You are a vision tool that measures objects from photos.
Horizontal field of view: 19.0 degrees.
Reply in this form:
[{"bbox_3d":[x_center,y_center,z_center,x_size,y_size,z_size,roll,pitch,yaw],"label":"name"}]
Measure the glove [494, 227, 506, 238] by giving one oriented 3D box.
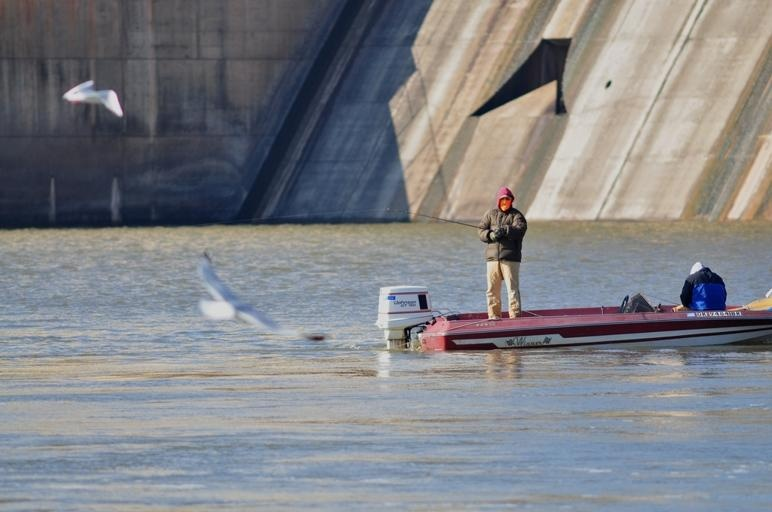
[{"bbox_3d":[2.718,-0.607,54.462,0.317,0.260,0.224,-2,10,-10],"label":"glove"}]
